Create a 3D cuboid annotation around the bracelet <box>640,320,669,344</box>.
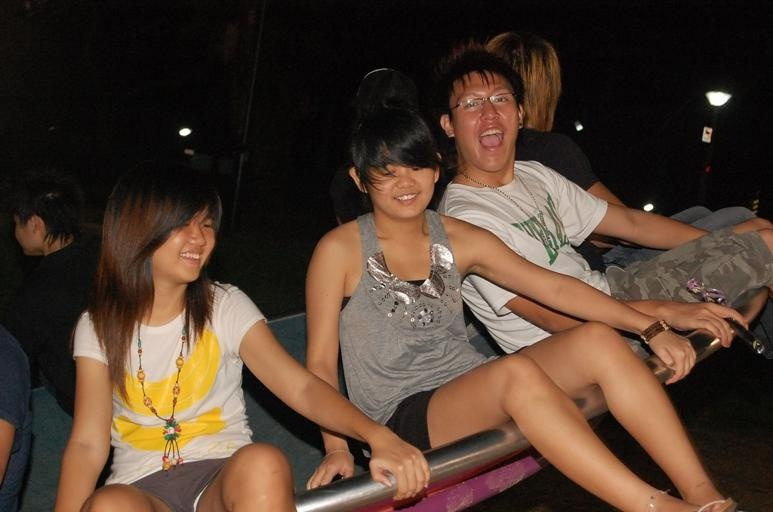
[{"bbox_3d":[0.713,0.195,1.362,0.063,0.023,0.063,-38,-10,-23],"label":"bracelet"}]
